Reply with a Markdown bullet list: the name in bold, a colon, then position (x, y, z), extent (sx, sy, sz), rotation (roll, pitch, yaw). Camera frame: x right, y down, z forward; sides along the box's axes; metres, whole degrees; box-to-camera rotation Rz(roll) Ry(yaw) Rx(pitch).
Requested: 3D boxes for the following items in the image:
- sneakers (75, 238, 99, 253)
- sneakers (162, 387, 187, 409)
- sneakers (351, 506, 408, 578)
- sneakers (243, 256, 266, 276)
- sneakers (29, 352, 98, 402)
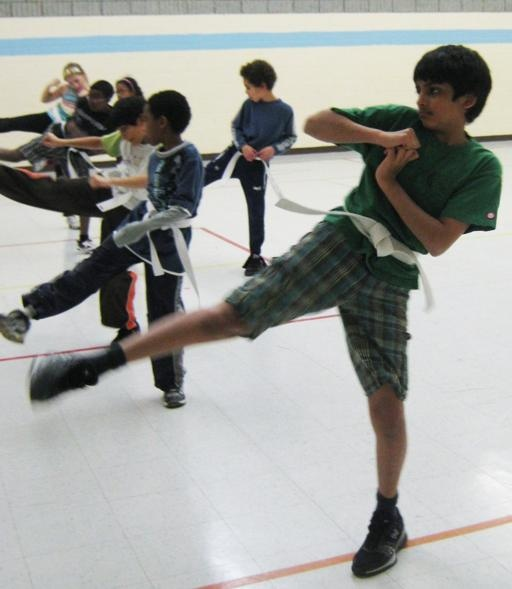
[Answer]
- **sneakers**: position (-1.608, -0.473, 6.084), extent (0.122, 0.106, 0.314), rotation (9, 8, 35)
- **sneakers**: position (-0.412, 0.523, 3.052), extent (0.123, 0.090, 0.248), rotation (0, -5, -4)
- **sneakers**: position (0.462, 0.795, 1.951), extent (0.113, 0.116, 0.284), rotation (-3, 5, 40)
- **sneakers**: position (-0.019, -0.245, 5.315), extent (0.183, 0.109, 0.318), rotation (-1, 8, 2)
- **sneakers**: position (-0.579, 0.250, 1.832), extent (0.196, 0.152, 0.121), rotation (-2, 17, -12)
